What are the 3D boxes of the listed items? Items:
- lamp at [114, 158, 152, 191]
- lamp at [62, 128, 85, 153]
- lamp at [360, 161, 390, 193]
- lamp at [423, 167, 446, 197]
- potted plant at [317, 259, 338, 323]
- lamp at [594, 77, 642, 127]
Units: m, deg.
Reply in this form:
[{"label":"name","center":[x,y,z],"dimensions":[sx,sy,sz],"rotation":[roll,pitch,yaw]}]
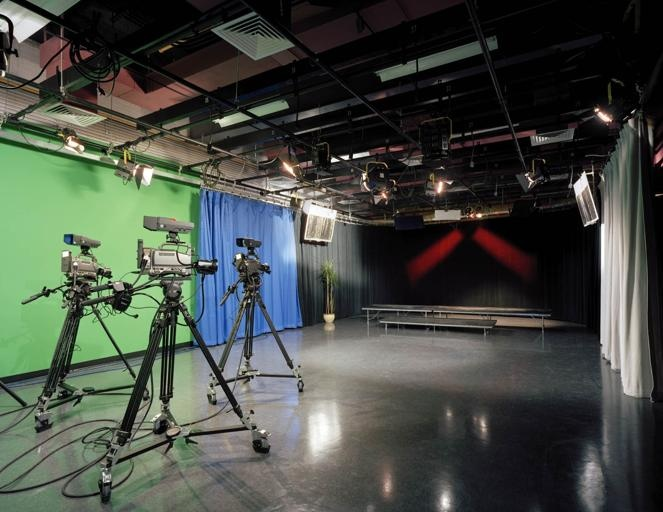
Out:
[{"label":"lamp","center":[-3.321,-1.365,7.485],"dimensions":[0.588,0.416,0.341],"rotation":[18,0,-27]},{"label":"lamp","center":[-3.922,-1.713,6.688],"dimensions":[0.258,0.337,0.422],"rotation":[-4,7,-32]},{"label":"lamp","center":[0.860,-1.432,8.098],"dimensions":[0.529,0.550,0.409],"rotation":[-1,-3,35]},{"label":"lamp","center":[2.173,-1.491,8.938],"dimensions":[0.417,0.612,0.219],"rotation":[0,6,-1]},{"label":"potted plant","center":[-0.023,0.950,12.744],"dimensions":[0.403,1.652,0.608],"rotation":[-1,6,-2]},{"label":"lamp","center":[3.740,-1.938,5.654],"dimensions":[0.498,0.458,1.077],"rotation":[3,7,30]}]
